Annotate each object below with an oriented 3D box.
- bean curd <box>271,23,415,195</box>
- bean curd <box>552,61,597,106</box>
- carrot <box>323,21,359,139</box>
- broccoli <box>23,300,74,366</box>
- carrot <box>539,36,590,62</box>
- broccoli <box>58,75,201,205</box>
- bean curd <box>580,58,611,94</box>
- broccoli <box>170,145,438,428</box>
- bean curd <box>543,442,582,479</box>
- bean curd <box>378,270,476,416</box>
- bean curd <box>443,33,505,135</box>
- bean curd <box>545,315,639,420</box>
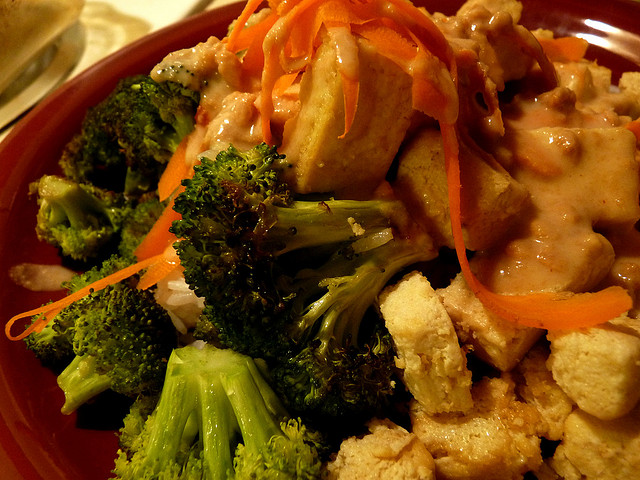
[{"bbox_3d":[0.100,-0.415,2.547,0.551,0.602,0.158,32,12,24],"label":"bean curd"},{"bbox_3d":[1.146,-0.714,2.971,0.195,0.214,0.128,-3,18,17],"label":"bean curd"},{"bbox_3d":[0.084,-0.567,2.386,0.134,0.401,0.089,-2,9,-11],"label":"carrot"},{"bbox_3d":[-1.128,0.384,2.804,0.174,0.258,0.195,-5,11,-13],"label":"broccoli"},{"bbox_3d":[1.141,-0.889,3.102,0.188,0.076,0.203,25,48,39],"label":"carrot"},{"bbox_3d":[-0.846,-0.471,3.070,0.646,0.665,0.427,-18,22,-34],"label":"broccoli"},{"bbox_3d":[1.314,-0.803,3.300,0.182,0.057,0.196,0,55,-38],"label":"bean curd"},{"bbox_3d":[-0.113,0.137,2.767,0.852,1.096,0.515,-2,8,-1],"label":"broccoli"},{"bbox_3d":[0.908,0.816,2.485,0.031,0.121,0.109,-4,0,-42],"label":"bean curd"},{"bbox_3d":[0.404,0.406,2.450,0.260,0.587,0.129,-16,-4,1],"label":"bean curd"},{"bbox_3d":[0.606,-0.634,2.644,0.176,0.456,0.114,-23,10,4],"label":"bean curd"},{"bbox_3d":[0.990,0.465,2.387,0.284,0.267,0.200,-6,29,13],"label":"bean curd"}]
